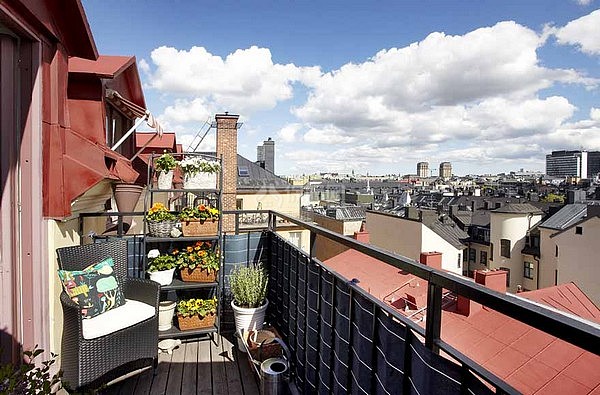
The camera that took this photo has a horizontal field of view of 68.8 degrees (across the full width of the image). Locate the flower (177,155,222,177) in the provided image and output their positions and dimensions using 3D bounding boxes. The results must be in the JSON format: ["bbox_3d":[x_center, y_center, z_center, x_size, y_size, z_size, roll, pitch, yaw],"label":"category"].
[{"bbox_3d":[-1.474,-0.472,6.491,0.618,0.289,0.593,0,1,-15],"label":"flower"}]

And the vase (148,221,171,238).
[{"bbox_3d":[-1.966,0.441,6.182,0.255,0.157,0.255,1,-7,-5],"label":"vase"}]

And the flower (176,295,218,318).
[{"bbox_3d":[-1.461,1.554,6.281,0.350,0.111,0.316,2,4,6],"label":"flower"}]

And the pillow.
[{"bbox_3d":[-2.516,1.099,5.441,0.699,0.664,0.209,-28,4,-43],"label":"pillow"}]

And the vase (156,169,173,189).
[{"bbox_3d":[-1.992,-0.268,6.523,0.260,0.285,0.271,1,-6,-3],"label":"vase"}]

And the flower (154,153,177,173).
[{"bbox_3d":[-1.984,-0.502,6.467,0.289,0.214,0.290,2,6,5],"label":"flower"}]

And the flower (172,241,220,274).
[{"bbox_3d":[-1.466,0.851,6.327,0.465,0.180,0.533,2,8,-10],"label":"flower"}]

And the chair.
[{"bbox_3d":[-2.413,1.462,5.582,1.102,1.744,0.629,-2,3,-33],"label":"chair"}]

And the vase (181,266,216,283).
[{"bbox_3d":[-1.449,1.108,6.276,0.339,0.152,0.250,2,-6,-10],"label":"vase"}]

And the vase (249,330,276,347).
[{"bbox_3d":[-0.486,1.862,5.848,0.350,0.143,0.335,1,3,26],"label":"vase"}]

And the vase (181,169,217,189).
[{"bbox_3d":[-1.429,-0.247,6.417,0.303,0.154,0.303,3,-3,-44],"label":"vase"}]

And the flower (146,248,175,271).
[{"bbox_3d":[-1.962,0.855,6.223,0.323,0.142,0.322,-1,13,-42],"label":"flower"}]

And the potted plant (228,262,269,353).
[{"bbox_3d":[-0.685,1.531,6.131,0.512,1.195,0.541,-2,3,-30],"label":"potted plant"}]
